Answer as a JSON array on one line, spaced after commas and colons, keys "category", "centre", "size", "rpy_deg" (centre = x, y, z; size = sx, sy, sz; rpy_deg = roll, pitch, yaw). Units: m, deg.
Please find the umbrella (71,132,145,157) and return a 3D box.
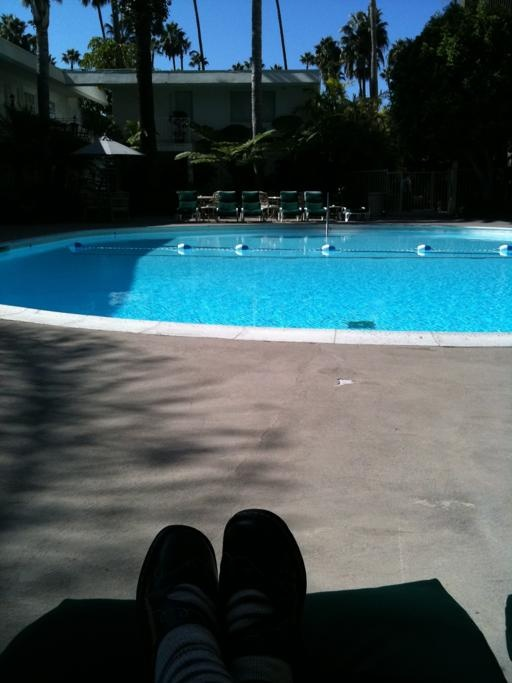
[{"category": "umbrella", "centre": [-5.558, -7.181, 18.524], "size": [0.997, 0.709, 2.212], "rpy_deg": [9, 14, 37]}]
